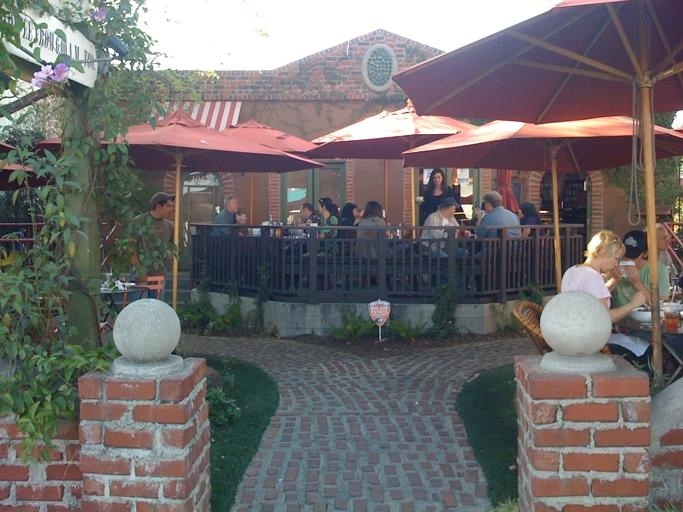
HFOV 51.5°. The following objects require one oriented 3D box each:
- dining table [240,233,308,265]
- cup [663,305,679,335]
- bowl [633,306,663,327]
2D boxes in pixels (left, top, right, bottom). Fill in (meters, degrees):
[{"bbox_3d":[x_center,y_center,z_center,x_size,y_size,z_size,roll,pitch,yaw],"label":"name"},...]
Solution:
[{"bbox_3d":[-1.164,-0.106,11.282,0.428,0.525,1.317,4,-2,-42],"label":"dining table"},{"bbox_3d":[2.898,0.575,6.205,0.131,0.224,0.143,1,-6,0],"label":"cup"},{"bbox_3d":[2.856,0.570,6.654,0.239,0.119,0.262,0,-1,0],"label":"bowl"}]
